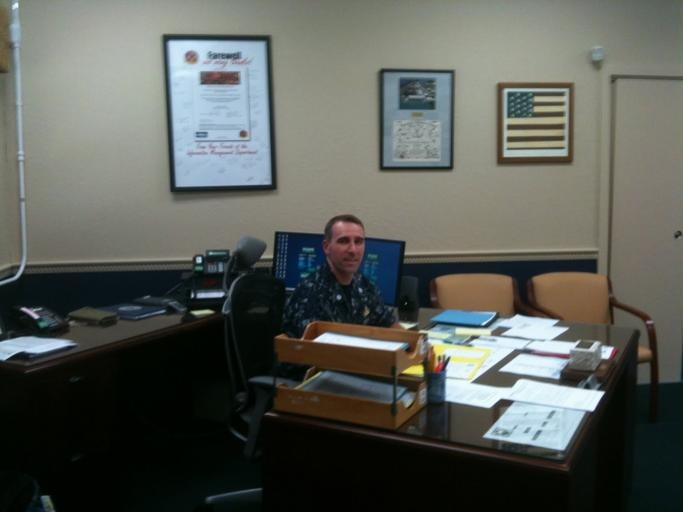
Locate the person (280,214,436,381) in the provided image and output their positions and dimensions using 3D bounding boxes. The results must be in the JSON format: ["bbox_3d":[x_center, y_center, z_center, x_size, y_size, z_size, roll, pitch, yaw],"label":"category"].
[{"bbox_3d":[-0.022,0.277,2.748,0.412,0.923,0.930,5,5,43],"label":"person"}]

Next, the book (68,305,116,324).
[{"bbox_3d":[-1.385,0.337,3.102,0.159,0.040,0.129,6,8,11],"label":"book"}]

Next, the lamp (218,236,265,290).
[{"bbox_3d":[-0.609,0.046,3.323,0.241,0.273,0.184,26,-8,-41],"label":"lamp"}]

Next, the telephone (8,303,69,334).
[{"bbox_3d":[-1.573,0.328,2.908,0.199,0.077,0.157,19,16,18],"label":"telephone"}]
